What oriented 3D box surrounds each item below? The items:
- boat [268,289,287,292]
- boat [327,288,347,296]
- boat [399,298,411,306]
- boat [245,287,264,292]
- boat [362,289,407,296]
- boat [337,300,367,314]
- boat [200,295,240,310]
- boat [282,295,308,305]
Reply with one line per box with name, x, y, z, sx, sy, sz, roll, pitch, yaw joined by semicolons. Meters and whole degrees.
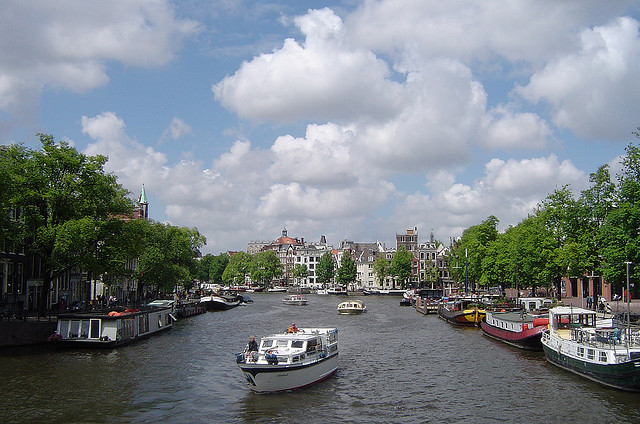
boat;-16.397;29.994;220.840;8.079;1.249;2.294;-3;-6;13
boat;6.226;26.448;189.117;3.024;2.284;14.080;1;-1;-17
boat;20.664;21.668;138.948;2.855;1.793;5.171;-1;-7;7
boat;-24.520;28.978;218.441;8.055;1.556;2.095;-3;-12;1
boat;20.372;25.431;182.447;12.271;1.911;6.921;1;-1;11
boat;6.144;18.486;111.261;4.838;2.491;2.899;0;-1;22
boat;-22.057;19.770;125.097;4.726;3.208;13.125;1;-1;10
boat;-6.452;21.574;142.402;3.184;2.066;6.256;1;-1;-37
